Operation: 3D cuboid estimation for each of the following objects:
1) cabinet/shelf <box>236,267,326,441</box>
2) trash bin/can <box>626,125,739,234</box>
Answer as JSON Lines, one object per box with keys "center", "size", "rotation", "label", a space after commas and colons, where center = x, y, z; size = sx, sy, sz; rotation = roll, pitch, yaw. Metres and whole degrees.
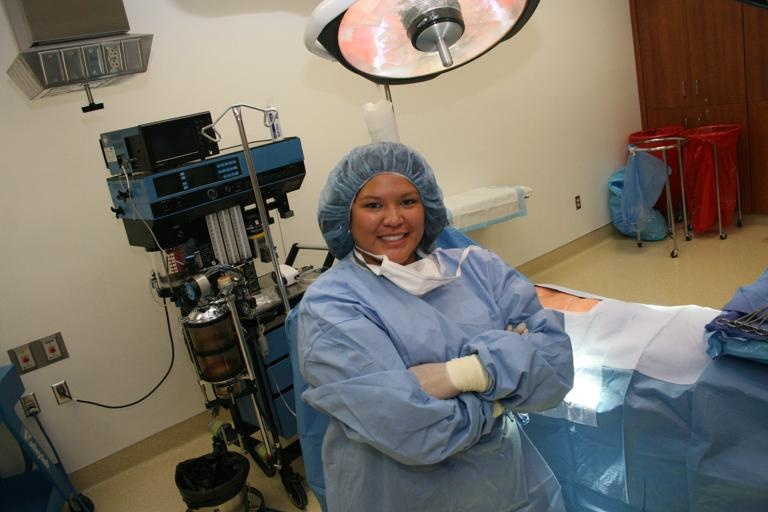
{"center": [-0.576, 0.547, 2.945], "size": [0.366, 0.866, 0.330], "rotation": [3, 36, 14], "label": "cabinet/shelf"}
{"center": [2.672, -0.637, 4.733], "size": [0.727, 0.950, 0.636], "rotation": [0, 19, 37], "label": "trash bin/can"}
